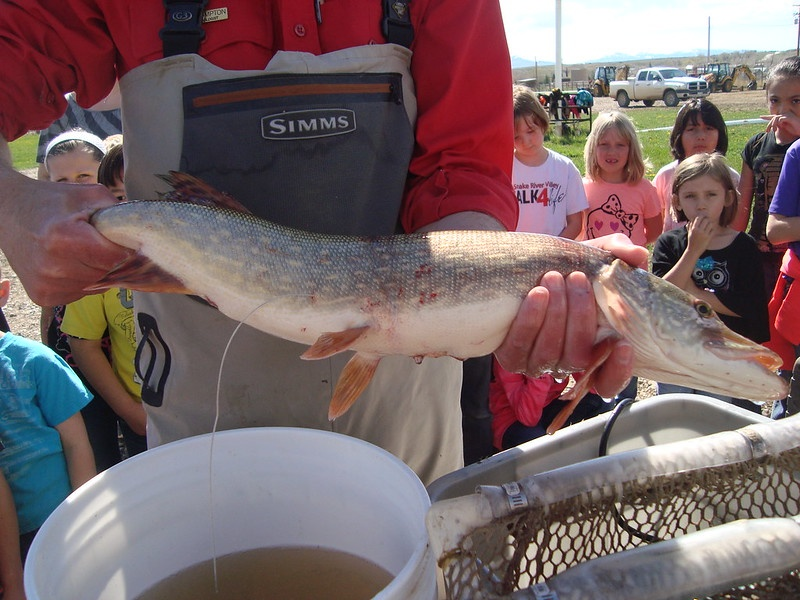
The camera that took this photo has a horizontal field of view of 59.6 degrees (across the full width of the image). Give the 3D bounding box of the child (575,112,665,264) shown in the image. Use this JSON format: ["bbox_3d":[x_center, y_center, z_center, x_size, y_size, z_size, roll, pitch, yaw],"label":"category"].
[{"bbox_3d":[1.897,-0.699,6.292,0.785,1.926,0.610,6,-16,14],"label":"child"}]

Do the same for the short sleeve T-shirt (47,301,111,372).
[{"bbox_3d":[-1.944,0.234,4.254,0.305,0.330,0.178,-24,7,-11],"label":"short sleeve T-shirt"}]

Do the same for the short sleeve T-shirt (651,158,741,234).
[{"bbox_3d":[2.793,-1.081,6.507,0.879,0.397,1.036,8,-21,37],"label":"short sleeve T-shirt"}]

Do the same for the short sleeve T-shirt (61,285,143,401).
[{"bbox_3d":[-1.699,0.257,3.966,0.559,0.719,0.236,-4,-2,-27],"label":"short sleeve T-shirt"}]

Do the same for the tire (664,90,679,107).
[{"bbox_3d":[12.873,-9.572,33.070,0.261,0.775,0.708,-4,-6,-15],"label":"tire"}]

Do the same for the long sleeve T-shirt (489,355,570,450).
[{"bbox_3d":[0.695,0.568,3.743,0.335,0.588,0.509,11,33,10],"label":"long sleeve T-shirt"}]
